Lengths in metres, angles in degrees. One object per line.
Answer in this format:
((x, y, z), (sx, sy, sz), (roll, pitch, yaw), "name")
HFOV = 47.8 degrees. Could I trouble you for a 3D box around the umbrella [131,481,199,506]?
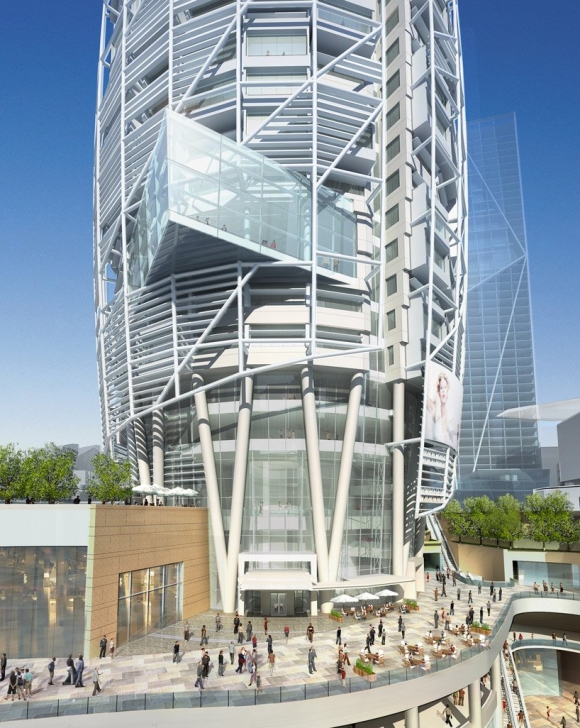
((-7.593, 7.990, 40.169), (2.766, 0.978, 3.173), (4, -11, 11), "umbrella")
